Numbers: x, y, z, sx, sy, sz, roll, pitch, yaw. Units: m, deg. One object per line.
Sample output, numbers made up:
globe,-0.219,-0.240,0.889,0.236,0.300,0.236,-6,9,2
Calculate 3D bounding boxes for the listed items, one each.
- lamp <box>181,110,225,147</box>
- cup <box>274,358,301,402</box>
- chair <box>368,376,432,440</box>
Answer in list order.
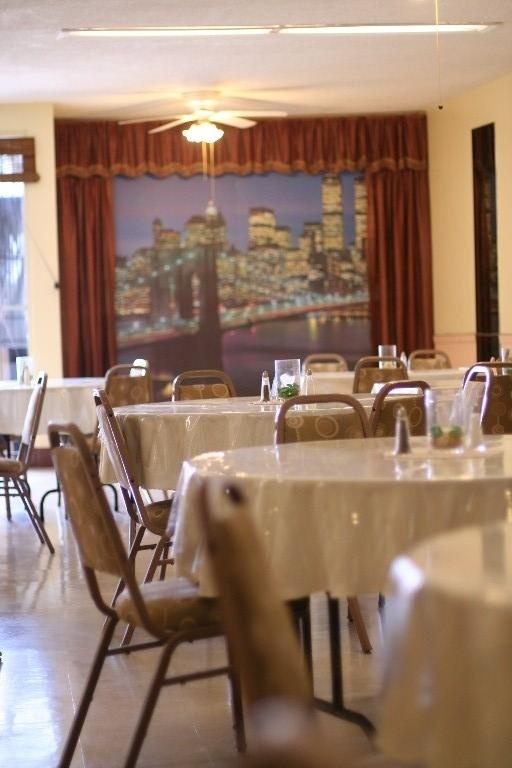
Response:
lamp,-0.458,-2.135,5.592,0.315,0.224,0.346,-2,8,10
cup,0.130,-0.018,3.121,0.139,0.263,0.164,0,7,-3
chair,0.486,0.087,2.325,0.254,0.274,0.182,0,2,-25
